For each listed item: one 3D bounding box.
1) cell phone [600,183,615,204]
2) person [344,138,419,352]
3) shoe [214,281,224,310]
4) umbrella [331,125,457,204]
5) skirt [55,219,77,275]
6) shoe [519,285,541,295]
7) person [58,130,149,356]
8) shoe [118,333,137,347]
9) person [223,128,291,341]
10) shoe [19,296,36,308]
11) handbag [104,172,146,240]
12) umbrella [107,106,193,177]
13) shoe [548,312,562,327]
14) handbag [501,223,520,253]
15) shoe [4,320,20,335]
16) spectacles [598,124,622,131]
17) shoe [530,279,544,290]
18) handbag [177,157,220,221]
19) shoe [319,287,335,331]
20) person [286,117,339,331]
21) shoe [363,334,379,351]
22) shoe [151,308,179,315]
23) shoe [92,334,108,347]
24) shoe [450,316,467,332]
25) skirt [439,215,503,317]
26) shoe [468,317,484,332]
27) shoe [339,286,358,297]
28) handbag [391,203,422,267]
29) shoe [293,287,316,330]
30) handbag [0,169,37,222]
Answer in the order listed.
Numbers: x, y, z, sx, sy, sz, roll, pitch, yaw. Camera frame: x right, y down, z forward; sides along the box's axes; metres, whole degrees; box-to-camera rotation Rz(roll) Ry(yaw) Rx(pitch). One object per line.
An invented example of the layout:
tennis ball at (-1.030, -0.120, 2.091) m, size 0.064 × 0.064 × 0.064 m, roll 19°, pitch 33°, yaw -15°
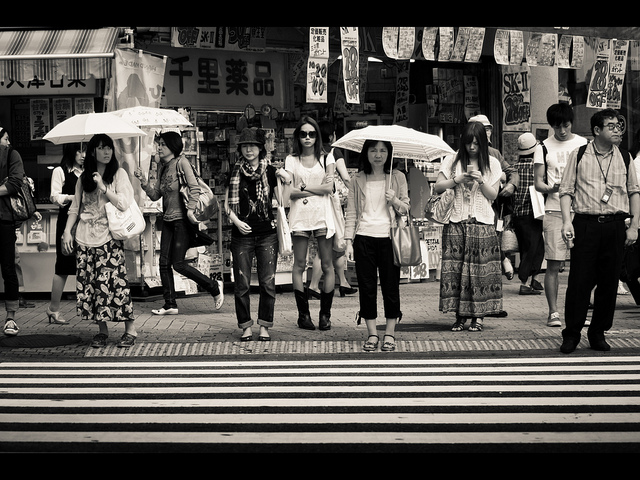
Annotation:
cell phone at (3.010, -0.483, 7.636) m, size 0.156 × 0.206 × 0.056 m, roll -4°, pitch 7°, yaw -25°
person at (0.672, 0.051, 8.074) m, size 0.782 × 2.334 × 0.685 m, roll 0°, pitch 6°, yaw 2°
shoe at (-1.408, 0.800, 10.382) m, size 0.146 × 0.434 × 0.145 m, roll -2°, pitch -5°, yaw -18°
umbrella at (0.878, -0.800, 8.445) m, size 0.886 × 0.593 × 0.874 m, roll 1°, pitch -7°, yaw 45°
skirt at (-3.469, 0.062, 9.998) m, size 0.299 × 0.598 × 0.337 m, roll 9°, pitch -17°, yaw -30°
shoe at (3.393, 0.808, 11.815) m, size 0.336 × 0.154 × 0.130 m, roll -1°, pitch 5°, yaw -16°
person at (-2.401, 0.022, 8.135) m, size 0.872 × 2.466 × 0.488 m, roll -1°, pitch 6°, yaw -8°
shoe at (-2.201, 1.133, 8.344) m, size 0.204 × 0.152 × 0.159 m, roll -4°, pitch 7°, yaw -25°
person at (-0.743, -0.050, 8.548) m, size 0.706 × 2.494 × 0.776 m, roll -1°, pitch 6°, yaw -7°
shoe at (-4.448, 0.943, 11.044) m, size 0.346 × 0.163 × 0.128 m, roll 0°, pitch 3°, yaw 17°
handbag at (-2.156, -0.225, 8.088) m, size 0.420 × 0.427 × 0.257 m, roll -3°, pitch 7°, yaw -22°
umbrella at (-2.470, -1.295, 10.679) m, size 1.142 × 0.999 × 1.019 m, roll -1°, pitch 8°, yaw -19°
shoe at (2.924, 0.987, 9.097) m, size 0.150 × 0.171 × 0.179 m, roll 1°, pitch 7°, yaw 17°
handbag at (3.059, -0.007, 11.902) m, size 0.265 × 0.527 × 0.368 m, roll -1°, pitch 0°, yaw 2°
shoe at (-3.746, 1.065, 8.865) m, size 0.150 × 0.186 × 0.157 m, roll -4°, pitch 7°, yaw -26°
spectacles at (3.068, -1.188, 7.717) m, size 0.202 × 0.066 × 0.079 m, roll -1°, pitch 7°, yaw 0°
shoe at (3.502, 0.726, 11.834) m, size 0.256 × 0.109 × 0.086 m, roll 33°, pitch -12°, yaw -29°
handbag at (-1.718, -0.707, 10.360) m, size 0.421 × 0.891 × 0.744 m, roll -7°, pitch 2°, yaw 7°
shoe at (0.080, 0.860, 9.319) m, size 0.171 × 0.512 × 0.404 m, roll -1°, pitch 7°, yaw 0°
person at (-0.110, -0.205, 9.250) m, size 0.613 × 2.643 × 0.499 m, roll -1°, pitch 6°, yaw -1°
shoe at (0.573, 1.148, 8.120) m, size 0.143 × 0.098 × 0.360 m, roll -1°, pitch -4°, yaw 6°
shoe at (-2.189, 0.982, 10.265) m, size 0.330 × 0.145 × 0.127 m, roll 3°, pitch -3°, yaw -10°
shoe at (-2.512, 1.139, 8.350) m, size 0.157 × 0.134 × 0.230 m, roll -2°, pitch 7°, yaw -14°
shoe at (1.699, 1.012, 8.946) m, size 0.203 × 0.218 × 0.251 m, roll 1°, pitch 7°, yaw 10°
skirt at (1.795, 0.313, 8.680) m, size 0.718 × 1.222 × 0.340 m, roll 1°, pitch 6°, yaw 11°
shoe at (1.898, 1.028, 8.871) m, size 0.151 × 0.198 × 0.471 m, roll -1°, pitch -5°, yaw 12°
shoe at (0.458, 0.833, 11.957) m, size 0.337 × 0.163 × 0.113 m, roll -10°, pitch 12°, yaw -35°
handbag at (0.925, 0.068, 7.820) m, size 0.304 × 0.420 × 0.153 m, roll -2°, pitch 6°, yaw -8°
shoe at (-0.186, 0.860, 9.313) m, size 0.255 × 0.506 × 0.352 m, roll -1°, pitch 6°, yaw -4°
handbag at (-3.662, -0.514, 9.046) m, size 0.195 × 0.576 × 0.433 m, roll -1°, pitch 7°, yaw 0°
